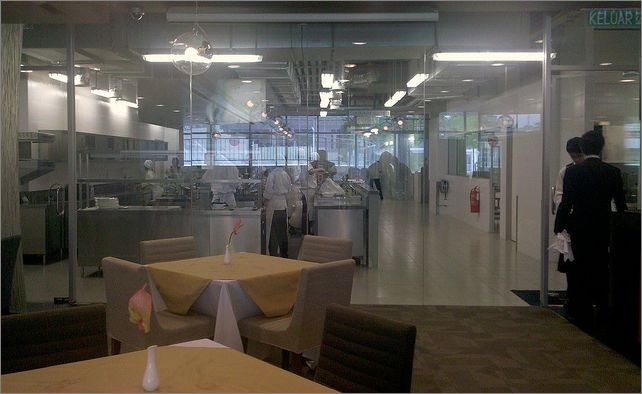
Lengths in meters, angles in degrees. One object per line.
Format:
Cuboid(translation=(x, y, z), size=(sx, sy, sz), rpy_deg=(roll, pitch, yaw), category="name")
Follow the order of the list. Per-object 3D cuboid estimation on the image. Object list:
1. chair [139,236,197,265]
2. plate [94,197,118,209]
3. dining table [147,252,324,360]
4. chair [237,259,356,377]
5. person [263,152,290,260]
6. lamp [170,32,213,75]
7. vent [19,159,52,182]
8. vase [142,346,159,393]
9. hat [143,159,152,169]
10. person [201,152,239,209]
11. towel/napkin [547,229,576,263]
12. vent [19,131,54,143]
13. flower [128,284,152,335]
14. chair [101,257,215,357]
Cuboid(translation=(-2.034, 0.688, 6.232), size=(0.638, 0.415, 0.342), rpy_deg=(-1, -7, -36), category="chair")
Cuboid(translation=(-3.324, 0.083, 7.413), size=(0.357, 0.177, 0.053), rpy_deg=(2, 15, 5), category="plate")
Cuboid(translation=(-0.961, 1.024, 5.463), size=(1.250, 0.598, 1.268), rpy_deg=(2, -1, 44), category="dining table")
Cuboid(translation=(-0.322, 1.473, 5.596), size=(1.225, 1.431, 1.224), rpy_deg=(2, 4, 19), category="chair")
Cuboid(translation=(-0.663, 0.211, 7.303), size=(0.432, 1.321, 0.432), rpy_deg=(0, 15, -4), category="person")
Cuboid(translation=(-1.471, -1.654, 5.427), size=(0.417, 0.416, 0.238), rpy_deg=(-3, 16, -15), category="lamp")
Cuboid(translation=(-4.671, -0.459, 7.739), size=(0.404, 0.113, 0.445), rpy_deg=(-14, -9, 25), category="vent")
Cuboid(translation=(-1.317, 1.271, 3.671), size=(0.129, 0.312, 0.280), rpy_deg=(-5, 16, -20), category="vase")
Cuboid(translation=(-2.654, -0.520, 7.327), size=(0.137, 0.124, 0.077), rpy_deg=(1, 6, 5), category="hat")
Cuboid(translation=(-1.537, -0.241, 7.340), size=(0.538, 0.800, 0.148), rpy_deg=(3, 15, 8), category="person")
Cuboid(translation=(3.480, 0.689, 6.867), size=(0.384, 0.379, 0.380), rpy_deg=(6, 9, 39), category="towel/napkin")
Cuboid(translation=(-4.633, -0.974, 7.752), size=(0.340, 0.081, 0.364), rpy_deg=(0, -1, -5), category="vent")
Cuboid(translation=(-1.359, 0.849, 3.604), size=(0.160, 0.390, 0.281), rpy_deg=(-5, 16, -22), category="flower")
Cuboid(translation=(-1.818, 1.355, 5.483), size=(0.991, 1.332, 1.092), rpy_deg=(3, 2, 38), category="chair")
